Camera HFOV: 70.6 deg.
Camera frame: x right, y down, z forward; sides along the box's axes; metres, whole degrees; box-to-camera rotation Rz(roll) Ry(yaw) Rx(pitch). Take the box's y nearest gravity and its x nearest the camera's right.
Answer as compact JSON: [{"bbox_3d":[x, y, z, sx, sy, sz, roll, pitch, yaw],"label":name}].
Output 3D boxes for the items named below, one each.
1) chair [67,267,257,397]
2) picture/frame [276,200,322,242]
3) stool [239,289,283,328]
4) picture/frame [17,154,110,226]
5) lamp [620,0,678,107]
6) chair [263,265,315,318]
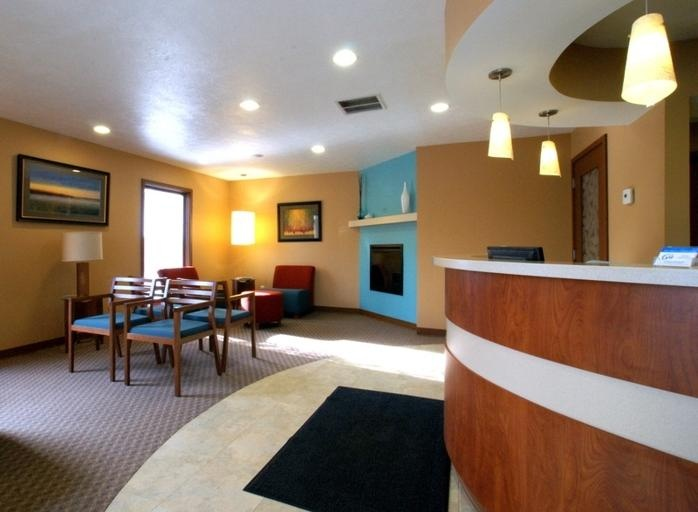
[{"bbox_3d":[-1.815,0.593,5.329,1.322,0.893,1.351,2,4,17],"label":"chair"},{"bbox_3d":[-0.848,-0.615,8.642,0.669,0.610,0.058,1,4,18],"label":"picture/frame"},{"bbox_3d":[-1.256,0.735,6.954,0.570,0.520,0.591,-2,-3,4],"label":"stool"},{"bbox_3d":[-3.560,-0.807,6.057,0.067,0.743,0.950,0,0,29],"label":"picture/frame"},{"bbox_3d":[1.852,-1.210,3.005,0.273,0.550,0.285,9,15,33],"label":"lamp"},{"bbox_3d":[-0.953,0.584,8.277,0.705,0.836,0.782,0,1,22],"label":"chair"}]
